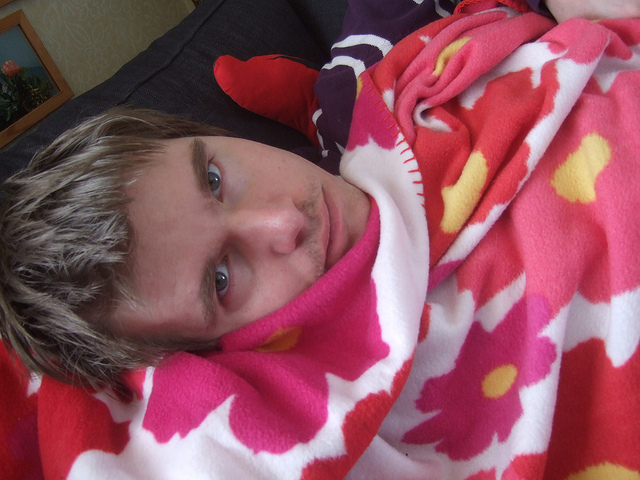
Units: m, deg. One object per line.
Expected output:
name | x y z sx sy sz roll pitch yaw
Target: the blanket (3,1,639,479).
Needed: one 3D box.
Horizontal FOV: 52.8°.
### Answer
blanket | 0.088 0.066 1.234 1.125 0.560 0.752 -14 39 -2
